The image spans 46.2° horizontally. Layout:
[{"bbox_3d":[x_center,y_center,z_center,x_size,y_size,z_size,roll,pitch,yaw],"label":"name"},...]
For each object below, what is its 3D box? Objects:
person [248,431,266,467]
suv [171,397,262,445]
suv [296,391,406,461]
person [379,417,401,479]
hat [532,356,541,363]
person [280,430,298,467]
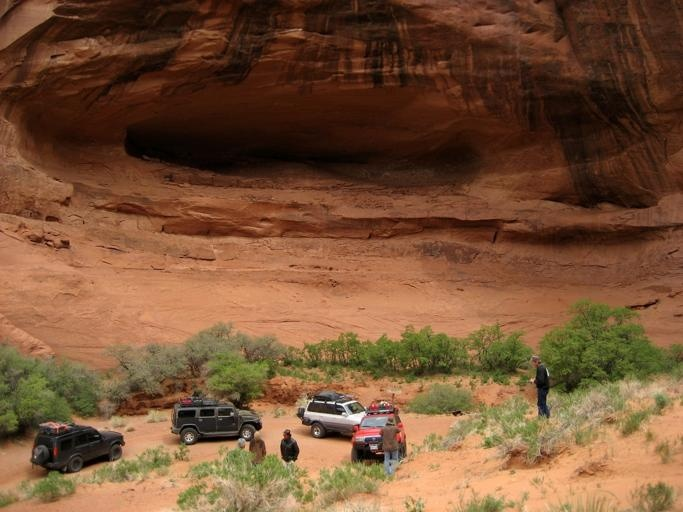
[{"bbox_3d":[-2.510,5.782,23.626,0.462,0.663,0.863,-1,-6,-6],"label":"person"},{"bbox_3d":[-4.267,5.553,27.413,3.101,0.964,1.467,0,0,-7],"label":"suv"},{"bbox_3d":[0.353,5.671,26.795,1.921,1.967,3.911,2,-6,-27],"label":"suv"},{"bbox_3d":[1.462,5.751,24.420,0.497,1.694,0.765,-2,-7,5],"label":"person"},{"bbox_3d":[5.926,3.162,24.438,0.341,0.133,0.362,2,-2,3],"label":"hat"},{"bbox_3d":[-1.601,5.763,24.158,0.483,0.949,1.013,-1,-6,-3],"label":"person"}]
